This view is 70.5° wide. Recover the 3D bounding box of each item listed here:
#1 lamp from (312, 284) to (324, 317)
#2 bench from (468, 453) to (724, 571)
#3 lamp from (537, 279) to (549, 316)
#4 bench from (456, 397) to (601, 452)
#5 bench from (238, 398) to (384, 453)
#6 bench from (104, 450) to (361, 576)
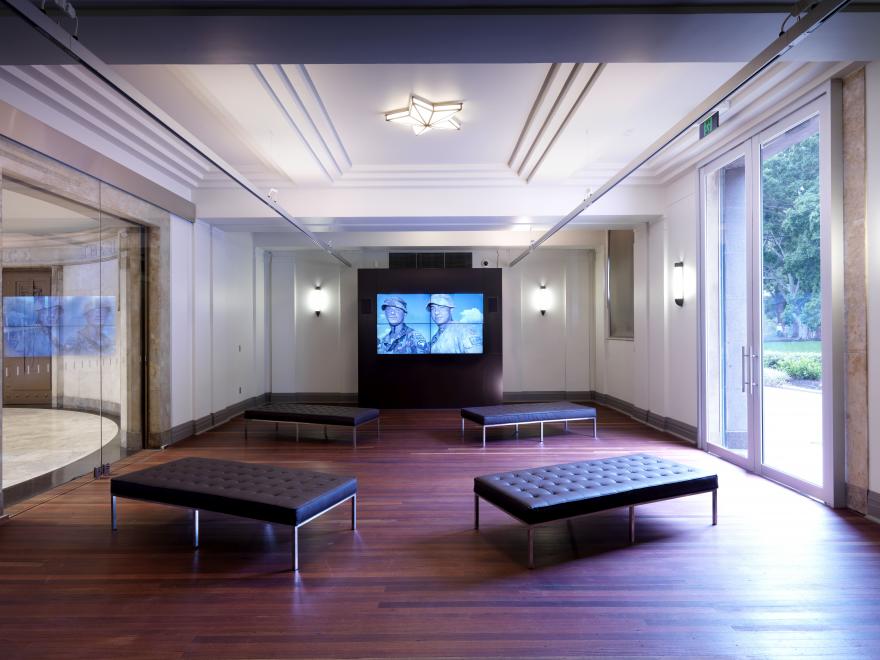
[{"bbox_3d":[-2.353,-0.577,11.929,0.312,0.608,0.070,0,-1,10],"label":"lamp"},{"bbox_3d":[1.358,1.535,5.470,1.982,0.632,0.822,1,-1,-21],"label":"bench"},{"bbox_3d":[2.021,-0.612,12.107,0.270,0.668,0.067,1,-1,7],"label":"lamp"},{"bbox_3d":[1.217,1.324,9.100,1.849,0.464,1.477,1,-1,-16],"label":"bench"},{"bbox_3d":[-1.774,1.344,9.150,1.890,0.421,1.508,0,-1,18],"label":"bench"},{"bbox_3d":[-1.772,1.540,5.402,1.928,0.635,0.786,0,-1,17],"label":"bench"}]
